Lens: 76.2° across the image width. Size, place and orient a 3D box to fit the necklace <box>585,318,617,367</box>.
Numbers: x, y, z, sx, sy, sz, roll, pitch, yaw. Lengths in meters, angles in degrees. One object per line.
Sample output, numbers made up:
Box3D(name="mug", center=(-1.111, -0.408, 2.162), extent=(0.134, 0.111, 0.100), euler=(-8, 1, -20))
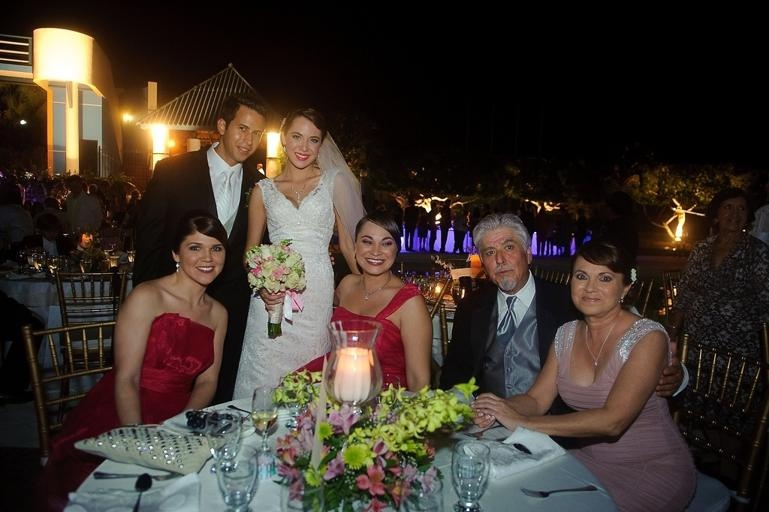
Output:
Box3D(name="necklace", center=(1.567, 0.642, 3.651), extent=(0.166, 0.328, 0.081), euler=(8, -2, 36))

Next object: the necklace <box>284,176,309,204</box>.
Box3D(name="necklace", center=(-0.841, -0.619, 4.722), extent=(0.231, 0.226, 0.097), euler=(-1, -14, 0))

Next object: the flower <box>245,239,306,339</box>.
Box3D(name="flower", center=(-0.951, 0.331, 4.312), extent=(0.474, 0.914, 0.455), euler=(0, 5, -13))

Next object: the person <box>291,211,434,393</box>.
Box3D(name="person", center=(-0.221, 0.464, 4.286), extent=(1.643, 1.556, 0.937), euler=(3, 4, 36))
